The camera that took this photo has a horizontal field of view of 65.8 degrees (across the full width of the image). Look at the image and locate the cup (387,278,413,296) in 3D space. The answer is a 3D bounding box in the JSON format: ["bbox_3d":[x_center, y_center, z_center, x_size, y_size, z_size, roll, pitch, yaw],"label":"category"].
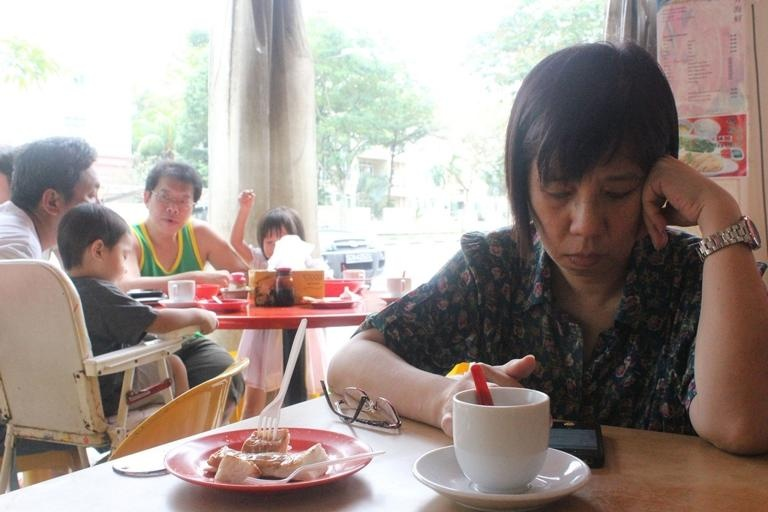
[{"bbox_3d":[0.079,0.154,2.932,0.080,0.071,0.100,1,7,-7],"label":"cup"}]

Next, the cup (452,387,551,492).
[{"bbox_3d":[0.209,0.349,1.157,0.191,0.155,0.166,4,-6,-1],"label":"cup"}]

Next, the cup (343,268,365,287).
[{"bbox_3d":[-0.163,0.119,3.419,0.128,0.087,0.081,1,-3,-18],"label":"cup"}]

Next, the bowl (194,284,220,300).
[{"bbox_3d":[-0.915,0.187,3.085,0.093,0.048,0.093,-1,-4,0],"label":"bowl"}]

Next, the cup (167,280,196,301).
[{"bbox_3d":[-0.942,0.164,2.762,0.086,0.087,0.114,9,12,39],"label":"cup"}]

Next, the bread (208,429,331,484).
[{"bbox_3d":[-0.222,0.373,1.123,0.126,0.037,0.104,-1,1,9],"label":"bread"}]

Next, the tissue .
[{"bbox_3d":[-0.486,0.073,3.074,0.465,0.437,0.331,1,-5,-12],"label":"tissue "}]

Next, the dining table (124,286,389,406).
[{"bbox_3d":[-0.347,0.329,2.756,0.710,0.467,0.705,-1,-5,4],"label":"dining table"}]

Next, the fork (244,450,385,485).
[{"bbox_3d":[-0.137,0.406,1.132,0.262,0.031,0.029,-7,2,-14],"label":"fork"}]

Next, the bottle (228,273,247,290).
[{"bbox_3d":[-0.717,0.124,2.946,0.098,0.099,0.093,-6,9,-26],"label":"bottle"}]
